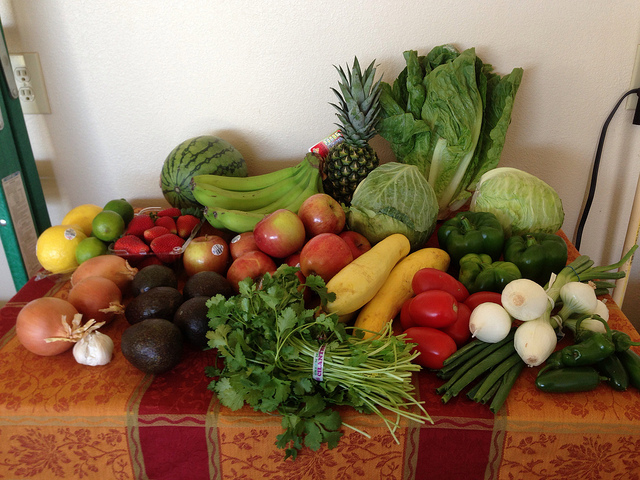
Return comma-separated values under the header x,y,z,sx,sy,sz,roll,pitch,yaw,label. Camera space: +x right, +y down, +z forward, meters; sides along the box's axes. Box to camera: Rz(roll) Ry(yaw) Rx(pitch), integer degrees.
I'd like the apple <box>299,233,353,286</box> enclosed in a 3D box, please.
x,y,z,sx,sy,sz,roll,pitch,yaw,label
0.006,0.041,1.279,0.113,0.120,0.110,21,26,40,apple

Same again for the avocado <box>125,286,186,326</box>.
x,y,z,sx,sy,sz,roll,pitch,yaw,label
-0.384,0.154,1.154,0.108,0.071,0.084,-8,13,-11,avocado

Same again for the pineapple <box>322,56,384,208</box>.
x,y,z,sx,sy,sz,roll,pitch,yaw,label
0.098,-0.324,1.543,0.130,0.467,0.187,-14,31,-33,pineapple

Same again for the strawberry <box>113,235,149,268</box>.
x,y,z,sx,sy,sz,roll,pitch,yaw,label
-0.520,0.016,1.355,0.053,0.045,0.044,3,21,7,strawberry

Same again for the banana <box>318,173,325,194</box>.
x,y,z,sx,sy,sz,roll,pitch,yaw,label
0.006,-0.176,1.530,0.017,0.055,0.011,-12,11,10,banana

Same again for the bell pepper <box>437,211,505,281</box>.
x,y,z,sx,sy,sz,roll,pitch,yaw,label
0.440,0.018,1.430,0.174,0.221,0.187,8,34,40,bell pepper

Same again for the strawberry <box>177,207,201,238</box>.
x,y,z,sx,sy,sz,roll,pitch,yaw,label
-0.402,-0.043,1.462,0.077,0.057,0.066,-12,65,3,strawberry

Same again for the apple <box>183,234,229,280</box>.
x,y,z,sx,sy,sz,roll,pitch,yaw,label
-0.312,0.041,1.391,0.111,0.112,0.117,-2,22,1,apple

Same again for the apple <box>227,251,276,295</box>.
x,y,z,sx,sy,sz,roll,pitch,yaw,label
-0.187,0.068,1.351,0.149,0.102,0.120,-9,24,-30,apple

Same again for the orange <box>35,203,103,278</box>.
x,y,z,sx,sy,sz,roll,pitch,yaw,label
-0.731,0.006,1.430,0.116,0.109,0.215,1,54,51,orange

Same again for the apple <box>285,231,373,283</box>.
x,y,z,sx,sy,sz,roll,pitch,yaw,label
0.032,0.042,1.289,0.095,0.111,0.213,-31,7,36,apple

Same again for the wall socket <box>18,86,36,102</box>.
x,y,z,sx,sy,sz,roll,pitch,yaw,label
-0.990,-0.496,1.664,0.045,0.048,0.011,-2,21,-3,wall socket

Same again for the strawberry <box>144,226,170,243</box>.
x,y,z,sx,sy,sz,roll,pitch,yaw,label
-0.462,-0.022,1.379,0.039,0.034,0.054,-7,11,15,strawberry

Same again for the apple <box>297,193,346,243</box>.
x,y,z,sx,sy,sz,roll,pitch,yaw,label
0.012,-0.078,1.407,0.129,0.125,0.156,-1,20,3,apple

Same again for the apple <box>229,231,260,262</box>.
x,y,z,sx,sy,sz,roll,pitch,yaw,label
-0.206,0.023,1.421,0.080,0.076,0.081,-27,41,26,apple

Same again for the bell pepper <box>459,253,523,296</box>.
x,y,z,sx,sy,sz,roll,pitch,yaw,label
0.427,0.075,1.291,0.135,0.103,0.139,-5,18,-20,bell pepper

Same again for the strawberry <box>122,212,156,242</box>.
x,y,z,sx,sy,sz,roll,pitch,yaw,label
-0.533,-0.037,1.441,0.111,0.058,0.085,-25,5,-41,strawberry

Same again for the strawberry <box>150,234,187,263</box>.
x,y,z,sx,sy,sz,roll,pitch,yaw,label
-0.415,0.018,1.349,0.081,0.067,0.055,2,46,-10,strawberry

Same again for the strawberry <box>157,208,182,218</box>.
x,y,z,sx,sy,sz,roll,pitch,yaw,label
-0.455,-0.085,1.486,0.058,0.027,0.028,-4,6,-23,strawberry

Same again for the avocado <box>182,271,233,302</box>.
x,y,z,sx,sy,sz,roll,pitch,yaw,label
-0.274,0.110,1.200,0.114,0.070,0.146,1,20,3,avocado

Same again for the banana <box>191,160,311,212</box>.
x,y,z,sx,sy,sz,roll,pitch,yaw,label
-0.188,-0.198,1.495,0.347,0.080,0.133,-10,70,-15,banana

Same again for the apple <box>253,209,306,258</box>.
x,y,z,sx,sy,sz,roll,pitch,yaw,label
-0.116,-0.021,1.334,0.129,0.139,0.127,-38,20,-35,apple

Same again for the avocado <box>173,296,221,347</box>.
x,y,z,sx,sy,sz,roll,pitch,yaw,label
-0.288,0.186,1.180,0.116,0.115,0.114,-5,26,-12,avocado
